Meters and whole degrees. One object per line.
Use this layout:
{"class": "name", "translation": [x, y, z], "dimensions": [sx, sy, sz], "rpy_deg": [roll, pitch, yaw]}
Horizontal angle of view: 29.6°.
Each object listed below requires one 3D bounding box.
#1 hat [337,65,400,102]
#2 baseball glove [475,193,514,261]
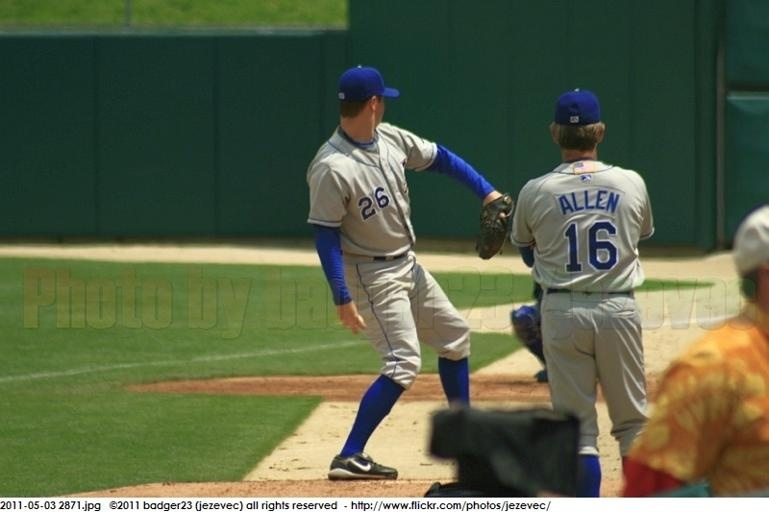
{"class": "hat", "translation": [-0.193, -1.963, 16.599], "dimensions": [0.785, 0.415, 0.489], "rpy_deg": [-15, 19, -40]}
{"class": "baseball glove", "translation": [1.314, -0.364, 16.844], "dimensions": [0.366, 0.760, 0.372], "rpy_deg": [8, 14, -10]}
